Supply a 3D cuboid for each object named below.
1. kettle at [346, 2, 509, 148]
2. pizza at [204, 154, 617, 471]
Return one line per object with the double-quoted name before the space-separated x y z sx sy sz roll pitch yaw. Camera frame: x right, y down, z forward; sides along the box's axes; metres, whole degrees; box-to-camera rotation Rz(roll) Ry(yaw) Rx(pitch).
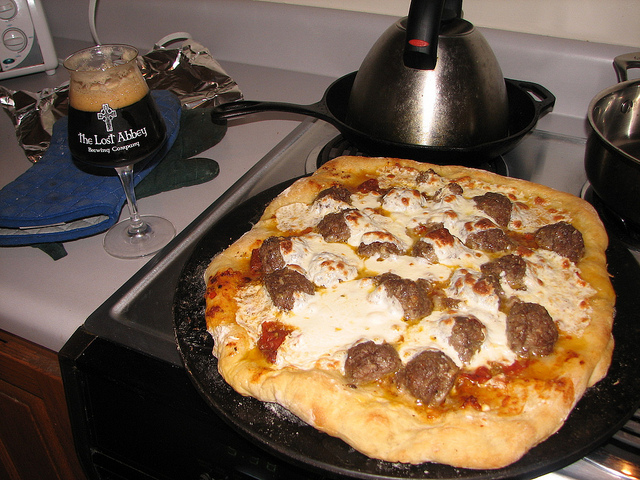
"kettle" 0.334 -0.491 1.735 0.497 0.429 0.481 13 31 24
"pizza" 0.244 0.084 1.397 0.966 0.098 0.938 17 48 16
